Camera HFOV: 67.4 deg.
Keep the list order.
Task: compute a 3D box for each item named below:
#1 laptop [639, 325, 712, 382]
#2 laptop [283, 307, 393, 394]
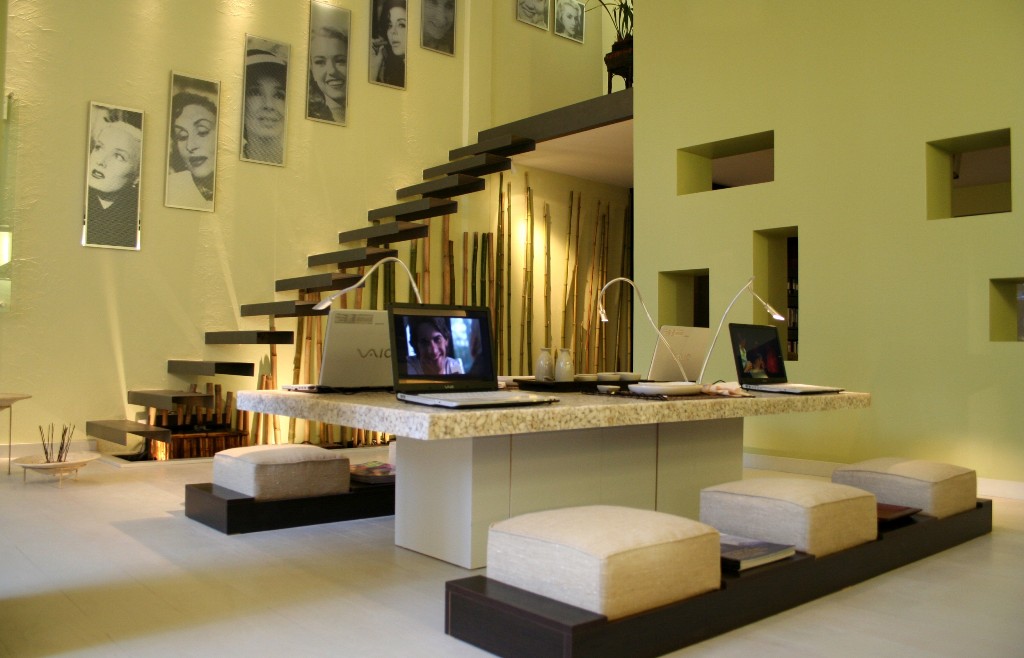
[{"bbox_3d":[1.141,0.246,5.359,0.454,0.436,0.354,-5,13,30],"label":"laptop"},{"bbox_3d":[-1.120,0.200,4.918,0.625,0.443,0.521,5,-10,-37],"label":"laptop"}]
